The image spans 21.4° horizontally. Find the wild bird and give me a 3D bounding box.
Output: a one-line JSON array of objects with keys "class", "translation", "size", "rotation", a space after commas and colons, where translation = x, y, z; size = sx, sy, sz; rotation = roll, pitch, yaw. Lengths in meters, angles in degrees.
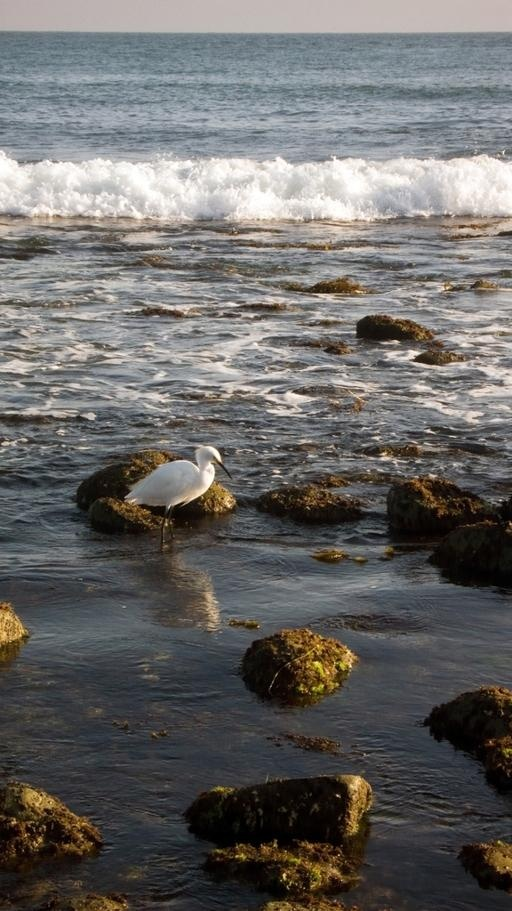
[{"class": "wild bird", "translation": [-0.728, 0.366, 12.613], "size": [1.212, 1.244, 0.603], "rotation": [-2, 19, -13]}]
